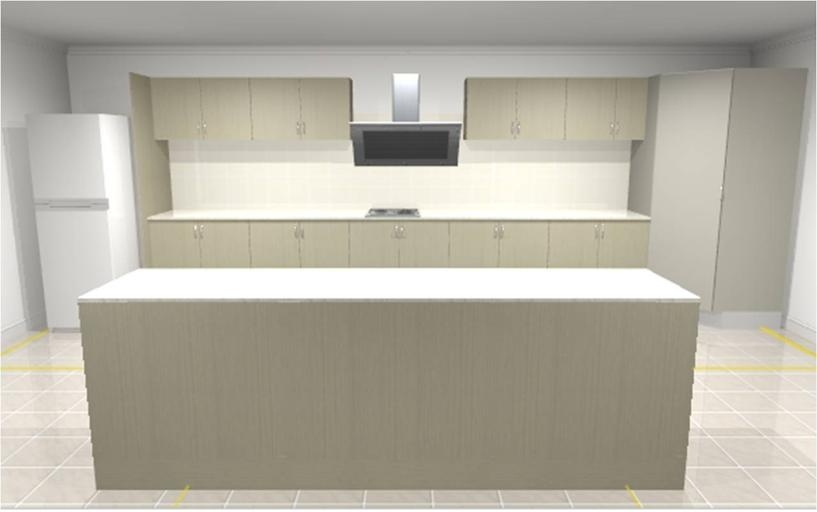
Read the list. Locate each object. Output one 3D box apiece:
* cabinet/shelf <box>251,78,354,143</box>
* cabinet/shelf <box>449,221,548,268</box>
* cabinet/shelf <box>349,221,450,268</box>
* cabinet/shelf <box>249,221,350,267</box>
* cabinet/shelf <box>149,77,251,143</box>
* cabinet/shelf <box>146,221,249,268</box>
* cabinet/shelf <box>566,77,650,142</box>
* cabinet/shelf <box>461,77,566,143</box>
[{"bbox_3d":[-1.387,-1.696,6.801,0.491,0.705,1.402,17,22,39],"label":"cabinet/shelf"},{"bbox_3d":[1.018,-0.129,6.798,1.019,0.396,0.580,0,3,0],"label":"cabinet/shelf"},{"bbox_3d":[-0.069,-0.132,6.801,1.014,0.407,0.580,1,9,0],"label":"cabinet/shelf"},{"bbox_3d":[-1.275,-0.145,6.575,1.090,0.425,0.550,0,8,0],"label":"cabinet/shelf"},{"bbox_3d":[-2.211,-1.722,6.966,1.423,0.694,0.757,5,13,16],"label":"cabinet/shelf"},{"bbox_3d":[-2.352,-0.160,6.587,0.597,0.456,0.194,1,11,0],"label":"cabinet/shelf"},{"bbox_3d":[2.039,-1.702,6.904,1.189,0.691,0.574,-3,9,-11],"label":"cabinet/shelf"},{"bbox_3d":[1.215,-1.725,6.960,1.382,0.692,0.657,-3,8,-11],"label":"cabinet/shelf"}]
